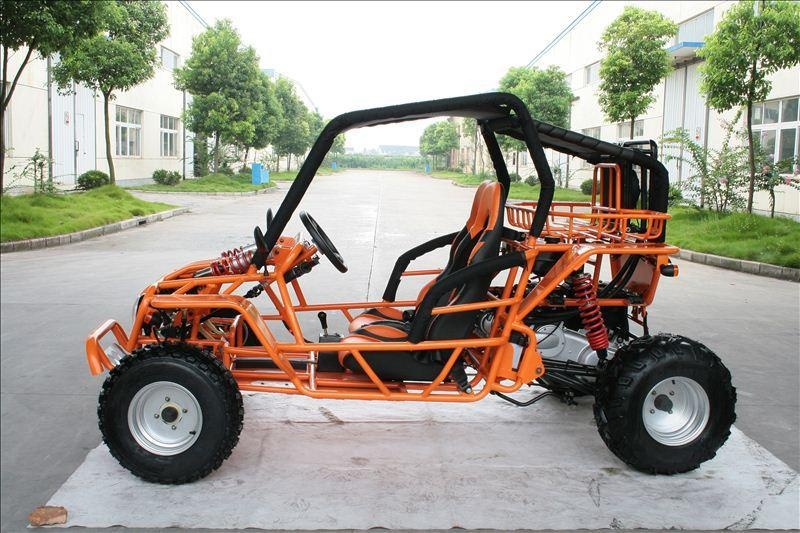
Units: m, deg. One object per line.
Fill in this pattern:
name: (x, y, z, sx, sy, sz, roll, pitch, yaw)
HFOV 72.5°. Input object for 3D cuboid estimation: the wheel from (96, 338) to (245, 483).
wheel: (-1.427, 0.949, 3.516, 1.075, 0.856, 0.287, -10, -9, 19)

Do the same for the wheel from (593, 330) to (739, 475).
wheel: (1.734, 0.898, 3.589, 0.877, 0.863, 0.397, -2, 16, -13)

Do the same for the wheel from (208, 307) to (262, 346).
wheel: (-1.274, 0.469, 4.214, 0.444, 0.316, 0.352, 1, 9, -13)

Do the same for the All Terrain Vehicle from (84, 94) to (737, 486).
All Terrain Vehicle: (-0.067, 0.137, 4.254, 4.299, 1.852, 2.088, -2, 13, -1)
